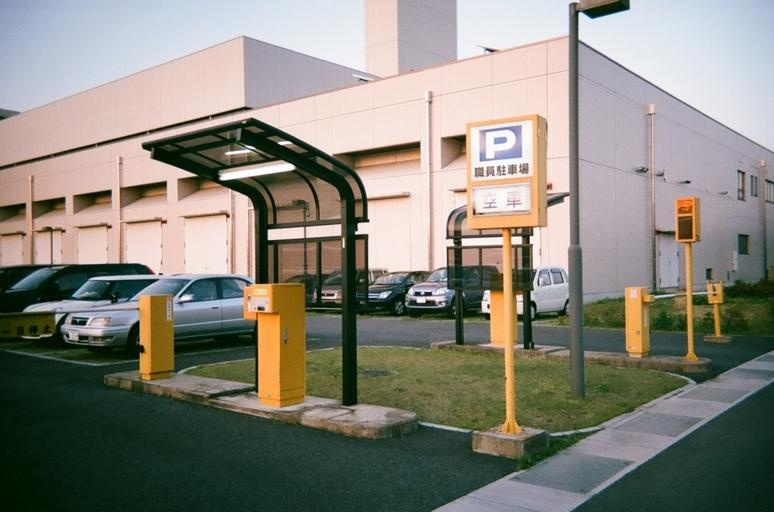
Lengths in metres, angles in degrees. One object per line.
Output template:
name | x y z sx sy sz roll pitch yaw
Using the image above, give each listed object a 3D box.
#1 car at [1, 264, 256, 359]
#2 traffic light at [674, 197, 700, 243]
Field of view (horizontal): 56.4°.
car | -5.809 1.444 18.887 2.372 1.579 5.351 -3 -5 42
traffic light | 6.879 -0.815 16.548 0.527 1.044 0.529 3 9 17
